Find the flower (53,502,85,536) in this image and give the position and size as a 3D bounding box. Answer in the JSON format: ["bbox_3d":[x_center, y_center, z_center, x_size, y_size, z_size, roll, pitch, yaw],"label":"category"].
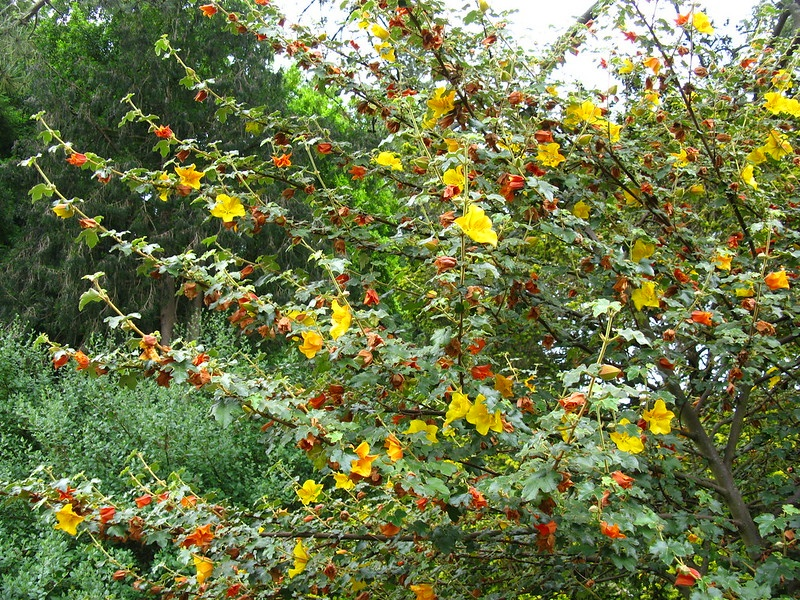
[{"bbox_3d":[-1.871,1.185,5.155,0.175,0.169,0.053,-9,13,-1],"label":"flower"}]
